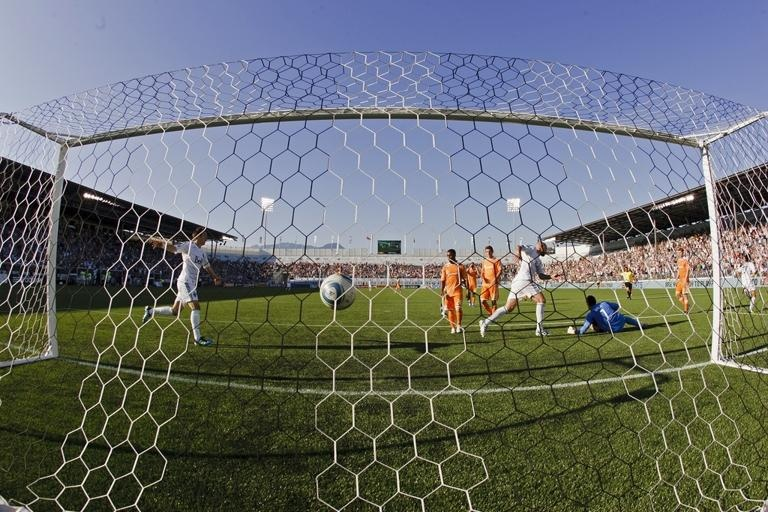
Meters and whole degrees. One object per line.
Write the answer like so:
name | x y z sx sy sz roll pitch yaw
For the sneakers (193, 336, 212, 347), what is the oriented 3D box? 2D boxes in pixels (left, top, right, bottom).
sneakers | -2.608 1.207 6.517 0.313 0.146 0.114 3 6 -8

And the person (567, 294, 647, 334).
person | 3.470 0.896 7.246 1.140 0.431 0.784 -9 14 23
